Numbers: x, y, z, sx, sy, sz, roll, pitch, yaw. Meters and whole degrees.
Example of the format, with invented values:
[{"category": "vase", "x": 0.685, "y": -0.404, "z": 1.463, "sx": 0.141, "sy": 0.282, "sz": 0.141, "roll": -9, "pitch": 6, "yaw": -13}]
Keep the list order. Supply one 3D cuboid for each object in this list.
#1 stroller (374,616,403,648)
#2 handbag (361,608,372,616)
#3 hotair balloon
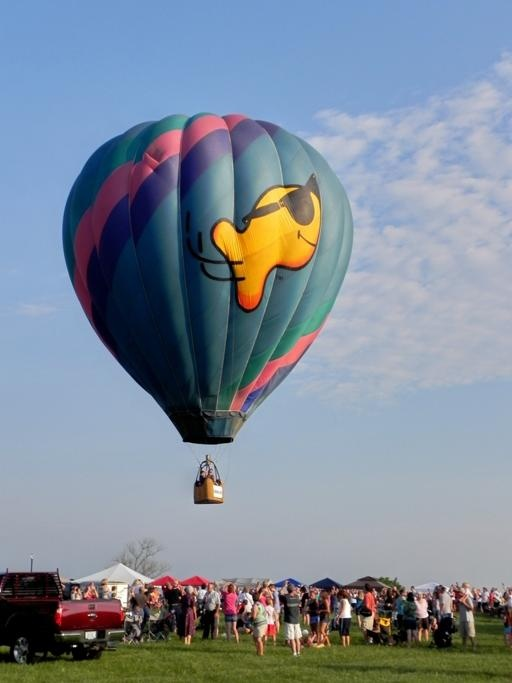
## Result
[{"category": "stroller", "x": 2.782, "y": 6.082, "z": 22.502, "sx": 0.618, "sy": 0.582, "sz": 1.189, "roll": -2, "pitch": -16, "yaw": 8}, {"category": "handbag", "x": 2.262, "y": 5.597, "z": 22.154, "sx": 0.232, "sy": 0.185, "sz": 0.163, "roll": -1, "pitch": -16, "yaw": 5}, {"category": "hotair balloon", "x": -1.383, "y": -0.741, "z": 23.954, "sx": 6.624, "sy": 8.690, "sz": 6.499, "roll": 2, "pitch": -3, "yaw": -11}]
